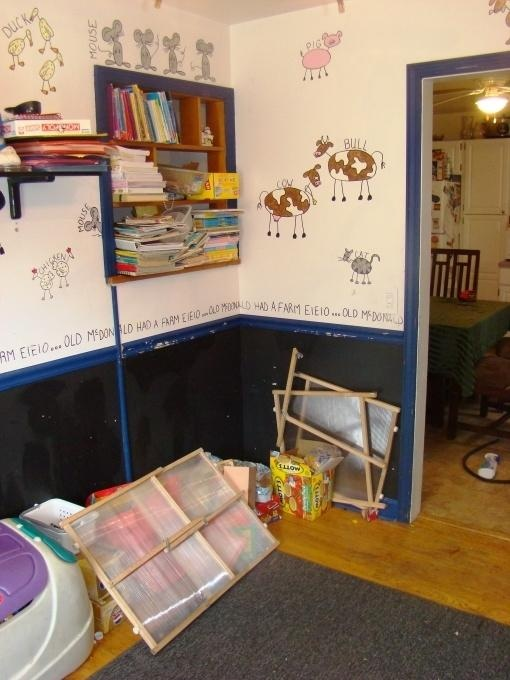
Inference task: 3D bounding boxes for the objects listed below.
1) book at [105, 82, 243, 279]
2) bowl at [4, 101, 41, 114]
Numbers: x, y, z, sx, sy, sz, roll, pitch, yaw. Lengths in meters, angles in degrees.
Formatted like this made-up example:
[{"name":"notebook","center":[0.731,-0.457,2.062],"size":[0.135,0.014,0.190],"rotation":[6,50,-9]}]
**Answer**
[{"name":"book","center":[-0.405,-0.794,2.454],"size":[0.292,0.928,1.002],"rotation":[4,13,25]},{"name":"bowl","center":[-0.725,-0.714,1.566],"size":[0.091,0.034,0.057],"rotation":[3,16,8]}]
